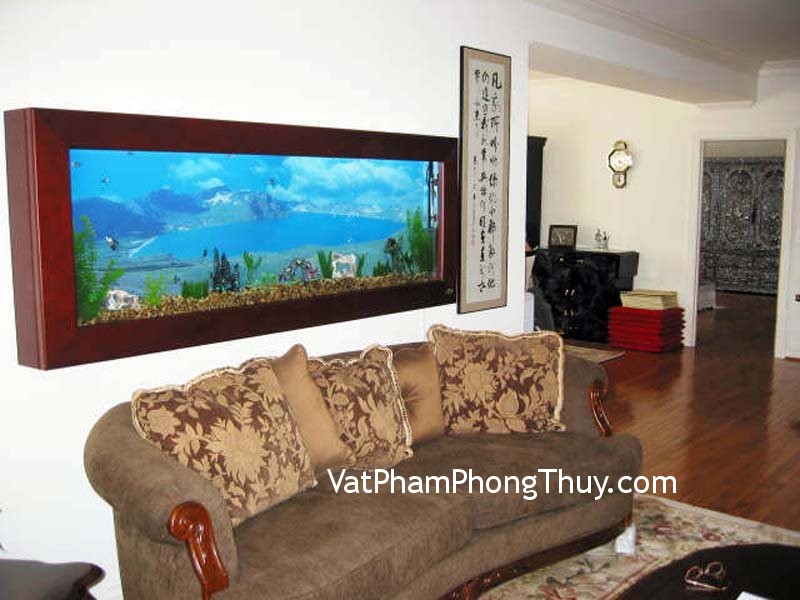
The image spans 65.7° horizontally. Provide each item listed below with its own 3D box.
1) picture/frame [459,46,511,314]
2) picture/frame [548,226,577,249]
[{"bbox_3d":[0.563,-0.774,4.119,0.128,1.683,0.542,8,13,40],"label":"picture/frame"},{"bbox_3d":[2.071,-0.789,7.843,0.289,0.290,0.031,0,-5,39],"label":"picture/frame"}]
